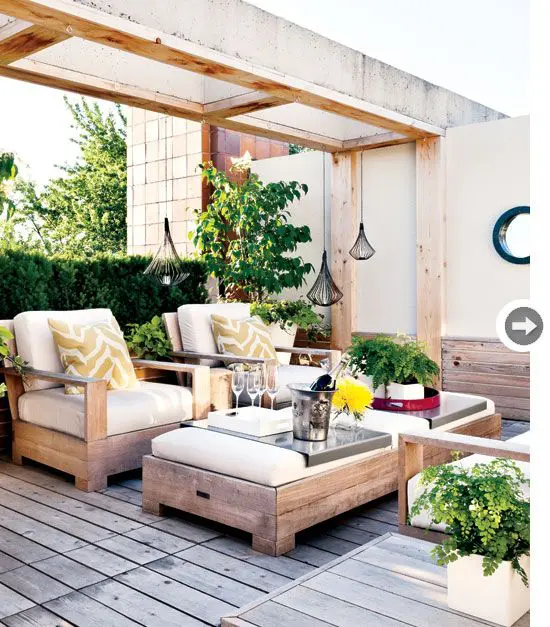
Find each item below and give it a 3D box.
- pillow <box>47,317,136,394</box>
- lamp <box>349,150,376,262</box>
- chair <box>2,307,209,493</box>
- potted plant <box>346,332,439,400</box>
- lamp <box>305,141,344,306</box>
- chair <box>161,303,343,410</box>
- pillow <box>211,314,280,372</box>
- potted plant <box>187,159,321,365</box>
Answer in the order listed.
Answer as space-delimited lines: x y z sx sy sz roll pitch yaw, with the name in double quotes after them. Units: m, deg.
-1.209 0.291 3.656 0.351 0.467 0.596 2 -1 29 "pillow"
0.985 -1.233 5.999 0.291 1.265 0.516 1 -1 10 "lamp"
-1.115 0.484 3.617 1.238 0.977 1.018 -1 -2 38 "chair"
0.740 0.321 3.445 0.481 0.298 0.457 2 -5 2 "potted plant"
0.600 -1.044 6.194 0.394 1.911 1.108 1 -1 7 "lamp"
-0.215 0.299 4.515 1.093 0.903 0.943 -4 -5 35 "chair"
-0.247 0.229 4.460 0.475 0.422 0.141 14 -42 -40 "pillow"
-0.436 -0.794 7.653 2.167 3.049 1.896 -2 -1 9 "potted plant"
